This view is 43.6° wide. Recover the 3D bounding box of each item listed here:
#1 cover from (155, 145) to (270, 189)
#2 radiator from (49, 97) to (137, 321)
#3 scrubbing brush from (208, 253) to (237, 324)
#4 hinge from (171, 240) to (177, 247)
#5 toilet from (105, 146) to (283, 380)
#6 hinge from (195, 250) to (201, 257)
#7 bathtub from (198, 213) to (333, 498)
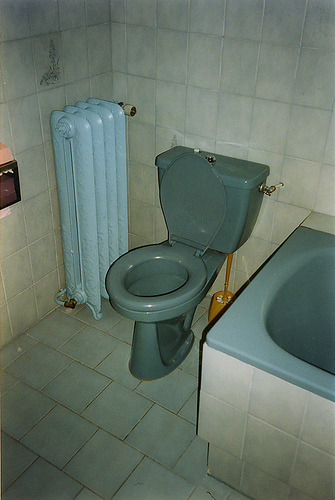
[{"bbox_3d":[0.176,-0.354,1.693,0.444,0.099,0.248,18,28,27],"label":"cover"},{"bbox_3d":[-0.288,-0.152,1.900,0.247,0.918,0.449,18,29,33],"label":"radiator"},{"bbox_3d":[0.259,0.152,1.867,0.091,0.392,0.081,-1,39,-2],"label":"scrubbing brush"},{"bbox_3d":[0.030,-0.029,1.773,0.014,0.005,0.021,31,55,11],"label":"hinge"},{"bbox_3d":[0.023,0.060,1.705,0.522,0.838,0.676,20,35,30],"label":"toilet"},{"bbox_3d":[0.126,0.012,1.729,0.018,0.006,0.030,15,64,11],"label":"hinge"},{"bbox_3d":[0.407,0.406,1.350,0.397,0.614,0.689,18,28,28],"label":"bathtub"}]
